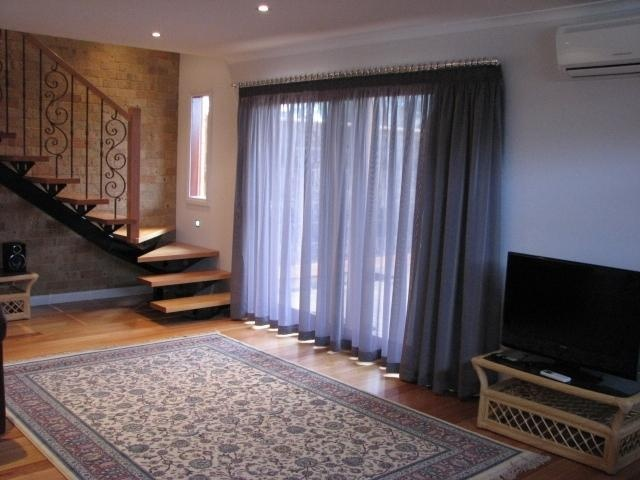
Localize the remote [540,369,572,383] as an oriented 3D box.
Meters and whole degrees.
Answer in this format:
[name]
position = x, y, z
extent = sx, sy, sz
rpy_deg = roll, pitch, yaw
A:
[remote]
position = 1.719, 0.998, 3.749
extent = 0.147, 0.024, 0.086
rpy_deg = 9, 13, 43
